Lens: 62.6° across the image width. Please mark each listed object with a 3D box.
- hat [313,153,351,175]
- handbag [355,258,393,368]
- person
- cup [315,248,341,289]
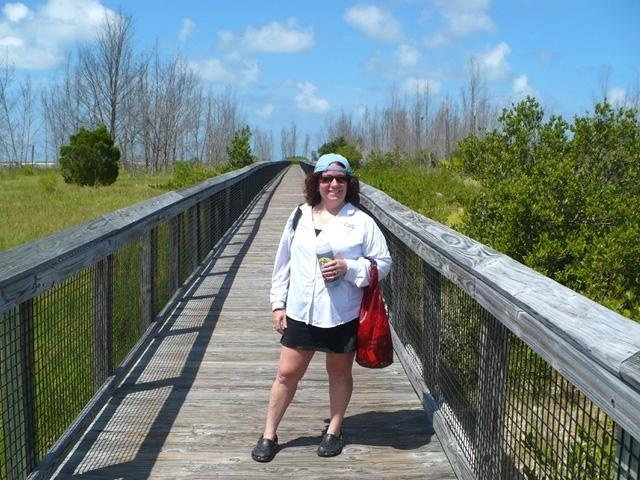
[{"bbox_3d":[0.088,-0.443,3.089,0.118,0.101,0.172,7,8,41],"label":"hat"},{"bbox_3d":[0.297,0.416,2.894,0.192,0.573,0.194,1,8,1],"label":"handbag"},{"bbox_3d":[0.014,0.369,3.058,0.758,1.711,0.546,2,8,8],"label":"person"},{"bbox_3d":[0.041,0.153,2.906,0.125,0.220,0.083,0,8,-3],"label":"cup"}]
